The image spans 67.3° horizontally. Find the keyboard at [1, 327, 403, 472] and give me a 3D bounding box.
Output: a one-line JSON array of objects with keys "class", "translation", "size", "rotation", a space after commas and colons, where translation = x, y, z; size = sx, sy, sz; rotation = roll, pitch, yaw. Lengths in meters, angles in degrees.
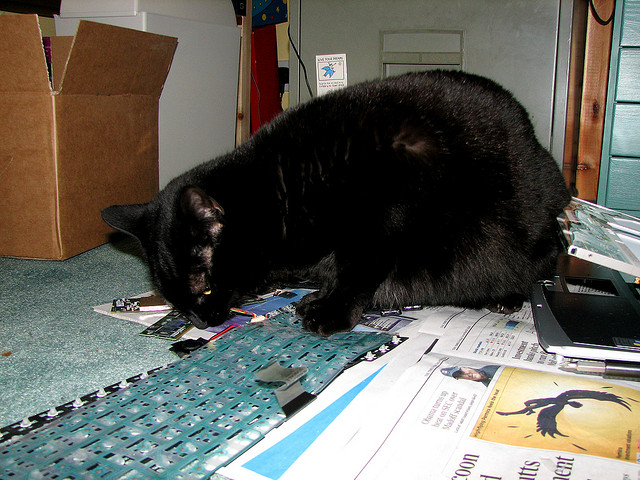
[{"class": "keyboard", "translation": [-0.167, 0.260, 0.815], "size": [0.368, 0.054, 0.540], "rotation": [9, 16, 30]}]

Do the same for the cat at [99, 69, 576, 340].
[{"class": "cat", "translation": [0.115, -0.062, 1.161], "size": [1.056, 0.459, 0.469], "rotation": [-7, 7, -25]}]

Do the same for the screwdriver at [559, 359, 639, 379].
[{"class": "screwdriver", "translation": [0.493, 0.227, 0.839], "size": [0.152, 0.022, 0.021], "rotation": [3, 31, 7]}]
